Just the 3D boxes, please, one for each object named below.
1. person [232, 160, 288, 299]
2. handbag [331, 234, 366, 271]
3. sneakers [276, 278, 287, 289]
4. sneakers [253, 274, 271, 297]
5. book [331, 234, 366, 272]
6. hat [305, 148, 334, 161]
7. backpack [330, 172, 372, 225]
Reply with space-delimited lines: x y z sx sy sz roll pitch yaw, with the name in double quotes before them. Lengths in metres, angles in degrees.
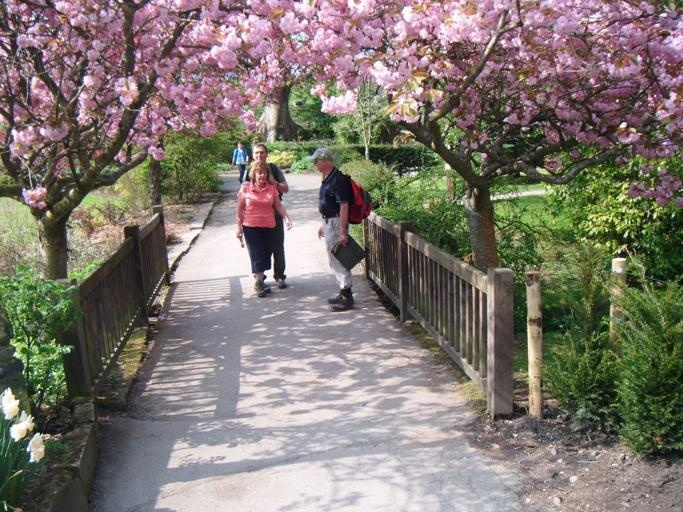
"person" -1.120 -0.398 8.226 0.703 1.899 0.681 -7 15 -18
"handbag" 0.098 -0.020 7.231 0.398 0.396 0.096 -45 11 0
"sneakers" -0.927 0.421 8.705 0.130 0.155 0.374 -1 -3 -10
"sneakers" -1.165 0.424 8.391 0.144 0.276 0.389 -6 4 -19
"book" 0.102 -0.020 7.228 0.402 0.400 0.093 -45 11 -1
"hat" -0.274 -1.316 7.417 0.327 0.166 0.385 -2 15 6
"backpack" 0.206 -0.753 7.412 0.154 0.635 0.495 10 19 41
